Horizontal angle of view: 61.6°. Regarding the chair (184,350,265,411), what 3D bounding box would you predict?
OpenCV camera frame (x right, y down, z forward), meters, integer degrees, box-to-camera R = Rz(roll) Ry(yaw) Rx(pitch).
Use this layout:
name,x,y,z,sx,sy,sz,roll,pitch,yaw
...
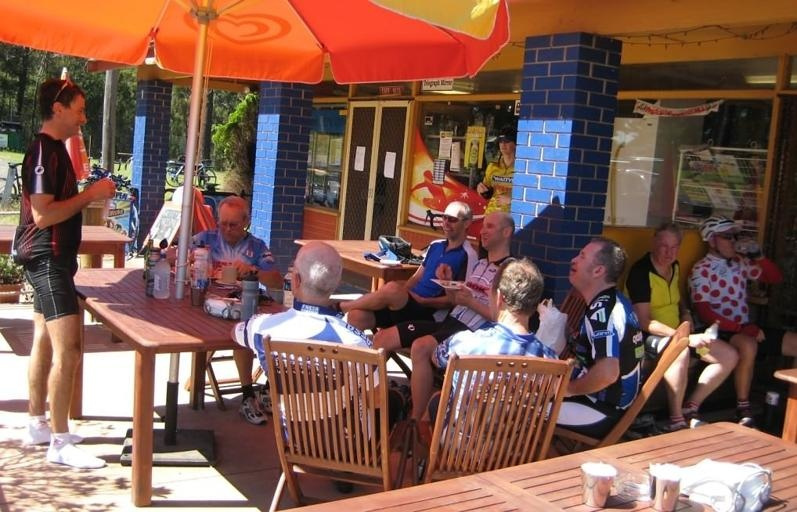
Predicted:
name,x,y,z,sx,sy,sz,roll,pitch,yaw
chair,-1.628,1.094,6.027,0.502,0.434,0.535,1,-27,1

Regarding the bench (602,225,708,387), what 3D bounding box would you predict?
name,x,y,z,sx,sy,sz,roll,pitch,yaw
bench,2.499,0.438,7.024,1.560,1.046,0.821,-5,10,-35

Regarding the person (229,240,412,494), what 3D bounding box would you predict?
name,x,y,z,sx,sy,sz,roll,pitch,yaw
person,-0.515,0.591,4.274,1.308,1.826,1.046,4,27,0

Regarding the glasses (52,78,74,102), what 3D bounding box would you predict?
name,x,y,z,sx,sy,sz,roll,pitch,yaw
glasses,-2.472,-1.234,4.958,0.122,0.162,0.095,25,3,25

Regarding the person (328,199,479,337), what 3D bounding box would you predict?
name,x,y,z,sx,sy,sz,roll,pitch,yaw
person,-0.001,0.168,6.261,1.650,1.180,0.776,-10,24,-31

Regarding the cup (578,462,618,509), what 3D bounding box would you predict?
name,x,y,z,sx,sy,sz,roll,pitch,yaw
cup,0.932,1.080,3.172,0.171,0.157,0.181,3,-1,0

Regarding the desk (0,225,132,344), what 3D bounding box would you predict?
name,x,y,z,sx,sy,sz,roll,pitch,yaw
desk,-3.606,0.326,7.265,1.340,1.215,1.316,-4,15,-32

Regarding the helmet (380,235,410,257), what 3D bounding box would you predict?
name,x,y,z,sx,sy,sz,roll,pitch,yaw
helmet,-0.029,-0.114,7.222,0.279,0.167,0.213,3,20,-21

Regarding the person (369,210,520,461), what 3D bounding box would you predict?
name,x,y,z,sx,sy,sz,roll,pitch,yaw
person,0.119,0.443,5.655,1.008,1.829,0.722,2,17,-43

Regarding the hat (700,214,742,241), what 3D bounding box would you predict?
name,x,y,z,sx,sy,sz,roll,pitch,yaw
hat,3.204,-0.282,6.659,0.302,0.149,0.217,-5,4,42

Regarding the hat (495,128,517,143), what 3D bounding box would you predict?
name,x,y,z,sx,sy,sz,roll,pitch,yaw
hat,1.447,-1.606,8.993,0.275,0.190,0.375,1,-8,19

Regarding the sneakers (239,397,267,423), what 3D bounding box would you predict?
name,x,y,z,sx,sy,sz,roll,pitch,yaw
sneakers,-1.238,1.316,5.719,0.122,0.130,0.312,-7,11,-36
